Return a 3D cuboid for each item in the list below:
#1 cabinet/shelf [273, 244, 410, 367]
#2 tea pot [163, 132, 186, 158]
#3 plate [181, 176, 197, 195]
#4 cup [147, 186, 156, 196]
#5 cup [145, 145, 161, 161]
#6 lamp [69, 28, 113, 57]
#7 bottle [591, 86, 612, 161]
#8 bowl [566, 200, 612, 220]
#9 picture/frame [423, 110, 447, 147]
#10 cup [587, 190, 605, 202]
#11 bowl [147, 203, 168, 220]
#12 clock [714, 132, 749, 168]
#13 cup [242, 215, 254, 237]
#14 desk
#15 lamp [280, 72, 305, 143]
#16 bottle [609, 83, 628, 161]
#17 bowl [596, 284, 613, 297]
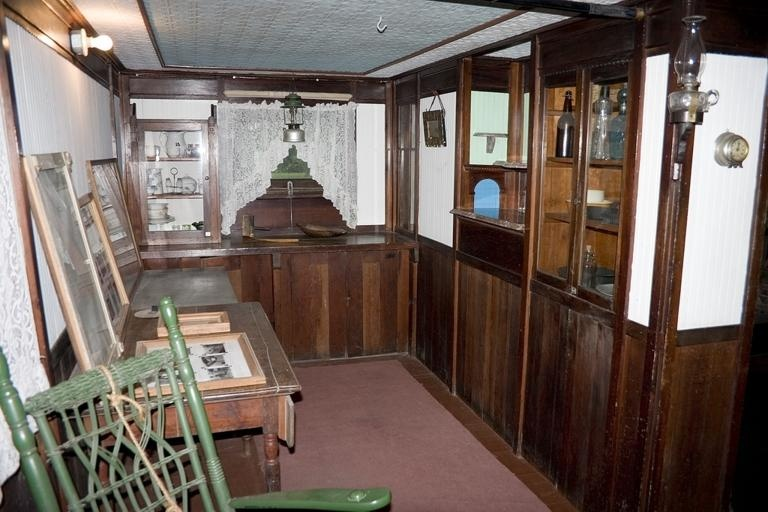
[{"bbox_3d":[-0.484,0.477,5.449,1.289,1.009,0.477,-2,8,-12],"label":"cabinet/shelf"},{"bbox_3d":[-2.078,-1.120,5.268,0.261,0.245,0.188,-2,10,-25],"label":"tea pot"},{"bbox_3d":[-1.980,-0.723,5.354,0.180,0.165,0.173,-1,1,-4],"label":"plate"},{"bbox_3d":[-2.324,-0.661,5.269,0.091,0.057,0.076,1,0,-27],"label":"cup"},{"bbox_3d":[-2.300,-1.042,5.337,0.161,0.165,0.159,0,-2,0],"label":"cup"},{"bbox_3d":[-1.917,-1.411,3.433,0.221,0.187,0.539,-9,13,-26],"label":"lamp"},{"bbox_3d":[1.313,-0.806,3.156,0.058,0.437,0.116,-14,16,-40],"label":"bottle"},{"bbox_3d":[1.322,-0.283,3.212,0.037,0.126,0.158,-11,14,-30],"label":"bowl"},{"bbox_3d":[0.496,-1.222,4.962,0.061,0.407,0.404,-6,7,-22],"label":"picture/frame"},{"bbox_3d":[1.307,-0.371,3.228,0.084,0.048,0.083,0,6,0],"label":"cup"},{"bbox_3d":[-2.265,-0.458,5.285,0.176,0.122,0.172,0,8,0],"label":"bowl"},{"bbox_3d":[1.896,-0.578,2.822,0.234,0.197,0.078,-8,13,-21],"label":"clock"},{"bbox_3d":[-1.469,-0.335,5.710,0.139,0.235,0.293,-6,12,-13],"label":"cup"},{"bbox_3d":[-0.952,0.462,2.890,1.168,0.709,1.476,-2,11,-16],"label":"desk"},{"bbox_3d":[-0.880,-1.451,5.165,0.243,0.600,0.231,4,15,16],"label":"lamp"},{"bbox_3d":[1.371,-0.779,3.053,0.045,0.422,0.142,-7,13,-15],"label":"bottle"},{"bbox_3d":[1.359,0.208,3.203,0.016,0.064,0.067,17,14,-30],"label":"bowl"}]
